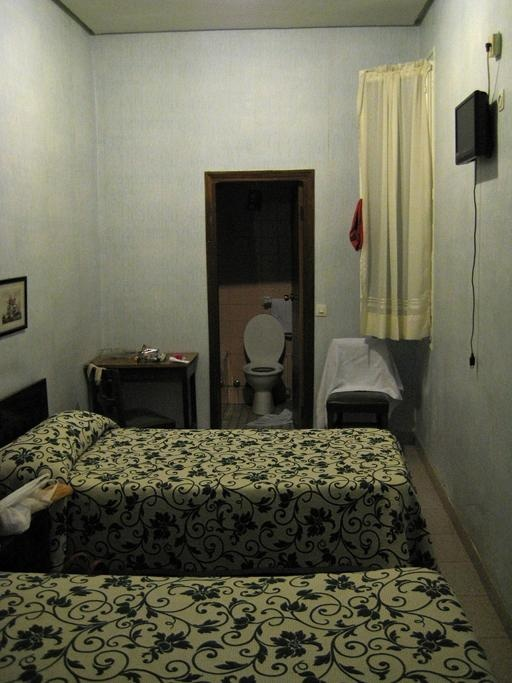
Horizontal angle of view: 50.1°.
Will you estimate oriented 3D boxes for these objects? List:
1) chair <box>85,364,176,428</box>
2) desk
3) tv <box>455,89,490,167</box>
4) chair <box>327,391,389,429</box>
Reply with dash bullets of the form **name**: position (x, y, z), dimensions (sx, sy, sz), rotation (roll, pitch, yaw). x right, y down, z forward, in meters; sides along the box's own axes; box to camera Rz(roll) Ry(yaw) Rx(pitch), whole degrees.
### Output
- **chair**: position (-0.882, 0.365, 3.781), dimensions (0.325, 0.564, 0.299), rotation (-13, 21, -27)
- **desk**: position (-0.794, 0.340, 3.925), dimensions (0.558, 0.768, 0.797), rotation (0, 12, 2)
- **tv**: position (0.952, -0.916, 2.370), dimensions (0.106, 0.269, 0.306), rotation (0, 7, 11)
- **chair**: position (0.719, 0.483, 3.895), dimensions (0.361, 0.339, 0.378), rotation (1, 6, 5)
